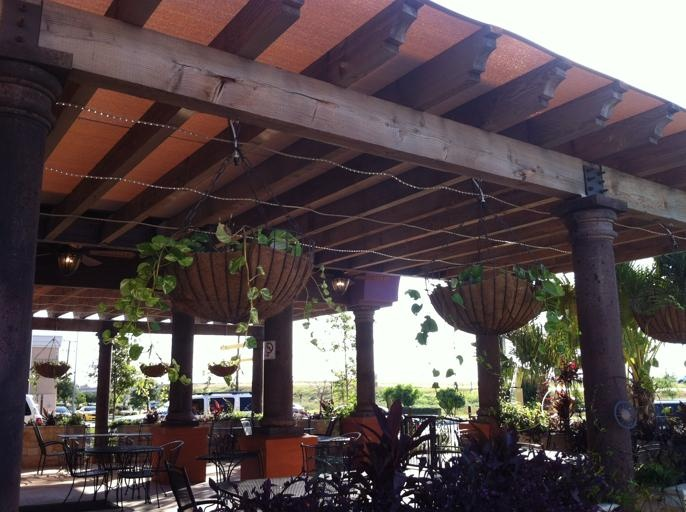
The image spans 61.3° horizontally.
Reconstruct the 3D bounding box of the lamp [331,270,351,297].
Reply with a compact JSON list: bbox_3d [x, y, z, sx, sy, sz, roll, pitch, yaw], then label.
[{"bbox_3d":[-0.027,0.356,7.486,0.306,0.476,0.314,1,1,-1],"label":"lamp"}]

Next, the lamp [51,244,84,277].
[{"bbox_3d":[-2.753,0.055,5.853,0.294,0.355,0.279,5,-12,-24],"label":"lamp"}]

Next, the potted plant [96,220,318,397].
[{"bbox_3d":[-0.629,0.120,2.780,0.919,0.557,0.357,-4,-13,5],"label":"potted plant"}]
